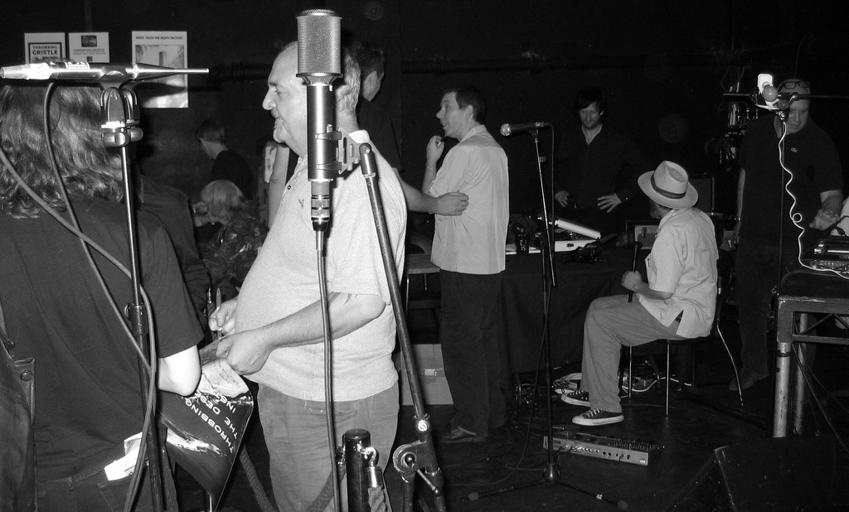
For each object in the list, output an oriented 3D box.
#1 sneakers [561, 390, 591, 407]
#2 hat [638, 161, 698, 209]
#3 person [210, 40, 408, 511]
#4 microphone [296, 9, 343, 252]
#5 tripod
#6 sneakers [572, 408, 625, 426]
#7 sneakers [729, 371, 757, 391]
[{"bbox_3d":[1.131,1.056,6.354,0.249,0.093,0.088,6,6,15],"label":"sneakers"},{"bbox_3d":[1.672,-0.486,5.863,0.294,0.097,0.286,19,-12,-24],"label":"hat"},{"bbox_3d":[-0.505,0.117,3.745,0.825,2.089,0.576,-1,7,2],"label":"person"},{"bbox_3d":[-0.401,-0.479,3.299,0.166,0.916,0.065,-2,7,-9],"label":"microphone"},{"bbox_3d":[0.706,0.634,5.470,0.920,1.578,1.280,-1,7,0],"label":"tripod"},{"bbox_3d":[1.206,1.128,6.003,0.385,0.130,0.130,2,-1,-6],"label":"sneakers"},{"bbox_3d":[2.454,0.948,6.535,0.228,0.118,0.091,-24,-49,28],"label":"sneakers"}]
